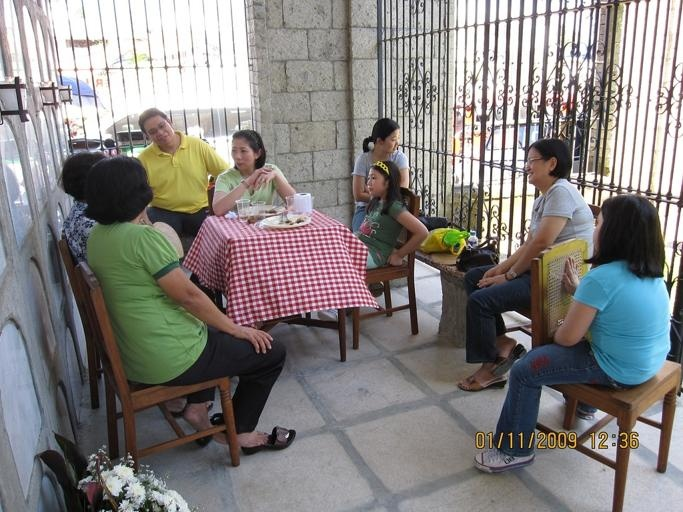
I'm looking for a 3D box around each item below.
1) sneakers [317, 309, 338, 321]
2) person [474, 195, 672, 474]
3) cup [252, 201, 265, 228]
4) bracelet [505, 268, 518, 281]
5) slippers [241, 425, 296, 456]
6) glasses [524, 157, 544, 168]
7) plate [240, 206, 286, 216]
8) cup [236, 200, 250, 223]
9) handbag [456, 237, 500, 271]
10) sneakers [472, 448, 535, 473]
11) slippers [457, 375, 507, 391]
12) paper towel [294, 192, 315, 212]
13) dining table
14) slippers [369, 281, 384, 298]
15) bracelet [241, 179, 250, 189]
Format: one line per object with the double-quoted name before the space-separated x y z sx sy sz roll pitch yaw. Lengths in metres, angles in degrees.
"sneakers" -0.109 0.520 4.420 0.140 0.058 0.148 1 5 11
"person" 1.193 0.444 2.520 0.841 1.470 0.305 2 19 16
"cup" -0.589 -0.292 3.469 0.103 0.156 0.108 4 10 -1
"bracelet" 1.091 0.124 3.256 0.028 0.046 0.078 10 -15 -29
"slippers" -0.428 1.060 2.927 0.273 0.082 0.133 -13 29 -12
"glasses" 1.208 -0.588 3.201 0.065 0.072 0.174 -7 20 -9
"plate" -0.549 -0.311 3.558 0.138 0.022 0.143 -6 21 -25
"cup" -0.682 -0.315 3.585 0.123 0.152 0.131 0 -2 0
"handbag" 1.011 0.000 3.776 0.272 0.292 0.204 0 3 7
"sneakers" 0.850 1.101 2.727 0.312 0.148 0.133 0 21 1
"slippers" 0.935 0.864 3.381 0.279 0.083 0.124 0 3 -3
"paper towel" -0.256 -0.358 3.447 0.113 0.119 0.116 14 20 37
"dining table" -0.392 0.043 3.394 0.923 0.692 0.780 7 9 -9
"slippers" 0.304 0.319 4.601 0.124 0.163 0.148 -2 57 -2
"bracelet" -0.726 -0.542 3.838 0.053 0.057 0.014 42 50 7
